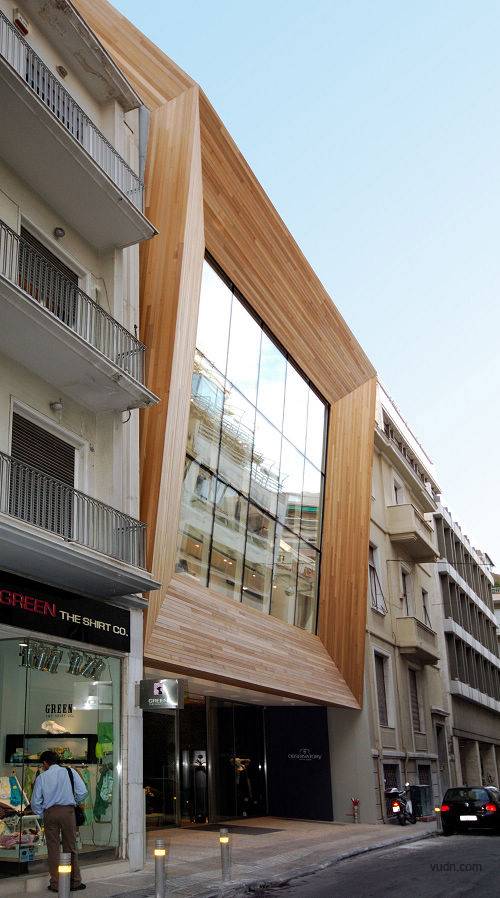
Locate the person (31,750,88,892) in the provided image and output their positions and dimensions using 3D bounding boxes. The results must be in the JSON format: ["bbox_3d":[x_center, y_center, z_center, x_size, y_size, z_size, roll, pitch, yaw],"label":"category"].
[{"bbox_3d":[-1.925,3.751,6.531,0.562,1.312,0.706,3,-21,-15],"label":"person"}]

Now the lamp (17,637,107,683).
[{"bbox_3d":[-2.405,2.736,8.341,0.111,0.352,1.901,-7,-24,14],"label":"lamp"}]
